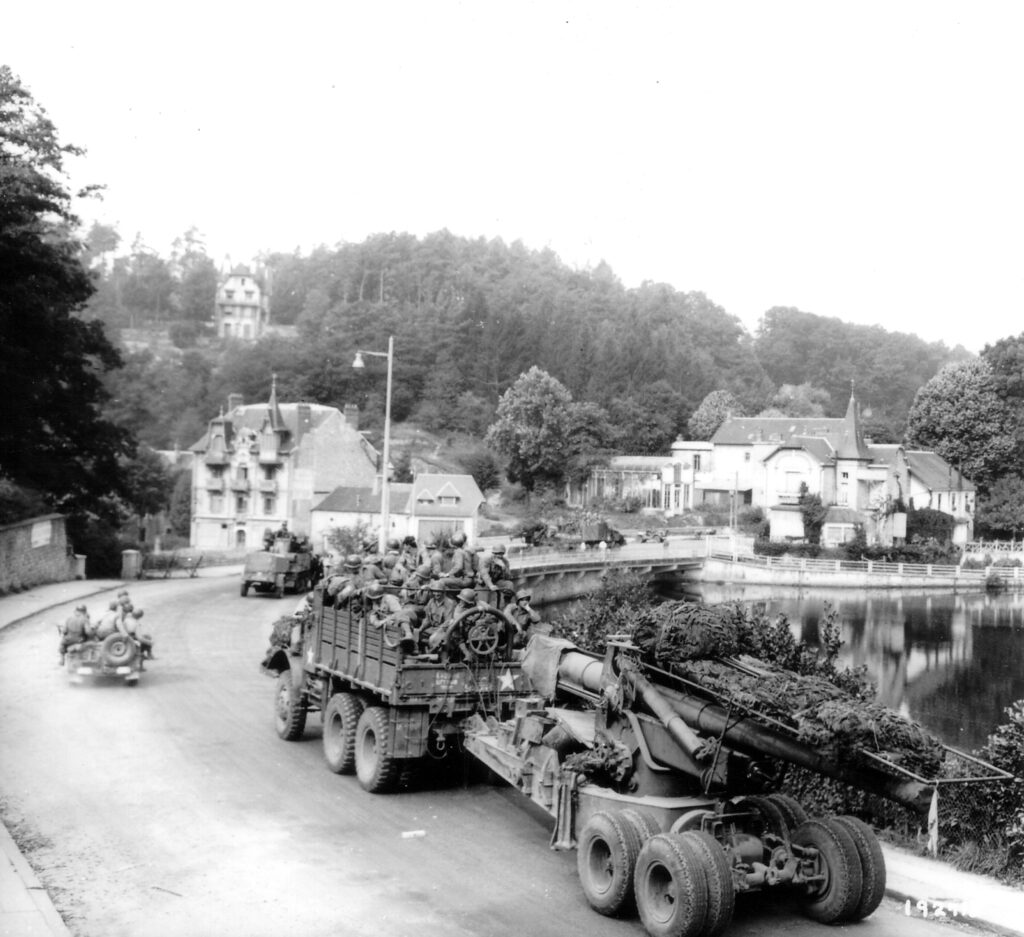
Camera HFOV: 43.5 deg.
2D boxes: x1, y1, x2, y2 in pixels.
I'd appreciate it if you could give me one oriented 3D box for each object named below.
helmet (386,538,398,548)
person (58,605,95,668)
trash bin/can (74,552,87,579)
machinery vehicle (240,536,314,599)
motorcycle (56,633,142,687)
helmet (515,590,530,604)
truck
[{"bbox_3d":[-2.244,1.447,24.090,0.191,0.172,0.200,-3,10,-29],"label":"helmet"},{"bbox_3d":[-8.153,3.027,23.897,0.500,1.251,0.397,7,27,-25],"label":"person"},{"bbox_3d":[-14.632,3.298,43.338,0.333,0.861,0.882,7,-1,-26],"label":"trash bin/can"},{"bbox_3d":[-7.610,3.238,42.337,1.483,2.096,3.237,1,-4,20],"label":"machinery vehicle"},{"bbox_3d":[-7.486,3.507,23.758,0.919,0.608,1.049,0,-3,-7],"label":"motorcycle"},{"bbox_3d":[0.167,1.918,19.104,0.224,0.095,0.232,1,0,44],"label":"helmet"},{"bbox_3d":[-1.805,3.078,19.302,1.957,2.606,4.241,7,0,-30],"label":"truck"}]
